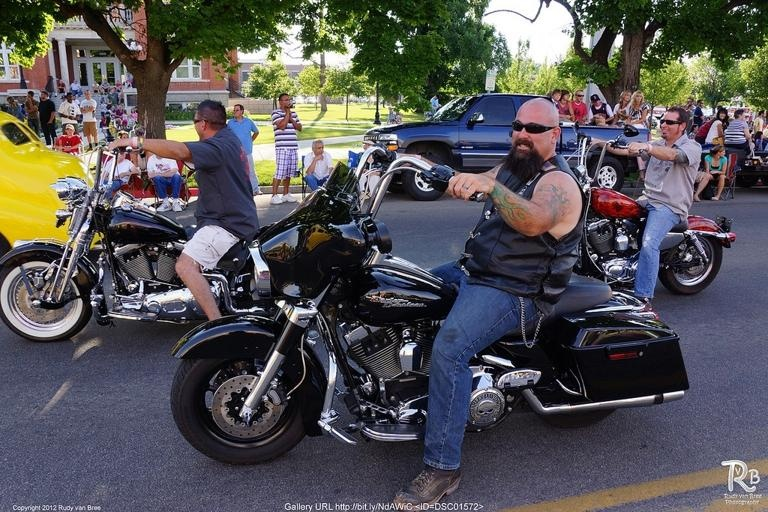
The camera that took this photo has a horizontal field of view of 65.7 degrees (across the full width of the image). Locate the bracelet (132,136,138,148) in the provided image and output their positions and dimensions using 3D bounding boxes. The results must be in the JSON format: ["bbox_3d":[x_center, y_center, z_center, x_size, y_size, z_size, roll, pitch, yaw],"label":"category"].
[{"bbox_3d":[-2.262,-1.033,5.441,0.035,0.085,0.064,4,6,-1],"label":"bracelet"}]

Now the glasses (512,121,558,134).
[{"bbox_3d":[1.117,-0.964,4.507,0.170,0.049,0.177,8,10,44],"label":"glasses"}]

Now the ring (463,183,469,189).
[{"bbox_3d":[0.568,-0.464,4.055,0.045,0.041,0.017,4,-12,-7],"label":"ring"}]

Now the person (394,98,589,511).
[{"bbox_3d":[0.806,0.351,4.570,1.326,3.062,0.665,-10,19,-39],"label":"person"}]

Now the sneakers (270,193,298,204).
[{"bbox_3d":[-2.235,-1.261,13.350,0.651,0.246,0.228,-2,16,-21],"label":"sneakers"}]

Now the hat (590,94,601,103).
[{"bbox_3d":[6.064,-4.463,17.089,0.309,0.265,0.520,-11,17,22],"label":"hat"}]

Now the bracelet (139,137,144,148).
[{"bbox_3d":[-2.239,-1.032,5.480,0.049,0.094,0.141,-5,16,-25],"label":"bracelet"}]

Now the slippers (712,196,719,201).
[{"bbox_3d":[8.131,-1.385,14.589,0.082,0.097,0.232,-3,18,2],"label":"slippers"}]
